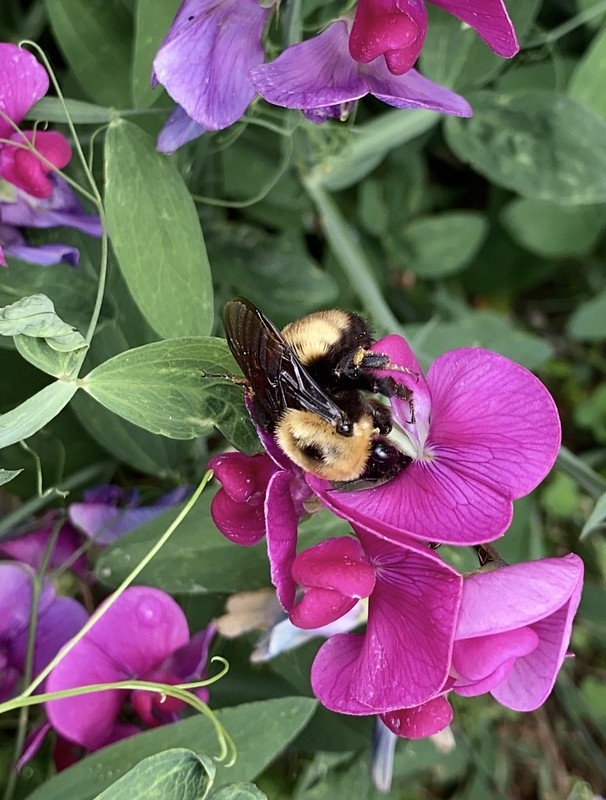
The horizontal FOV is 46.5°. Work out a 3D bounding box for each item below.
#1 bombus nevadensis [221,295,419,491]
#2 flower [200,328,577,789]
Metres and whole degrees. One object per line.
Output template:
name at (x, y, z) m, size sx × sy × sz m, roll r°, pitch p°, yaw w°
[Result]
bombus nevadensis at (0.018, -0.020, 0.634) m, size 0.186 × 0.132 × 0.064 m, roll 33°, pitch 53°, yaw 30°
flower at (0.119, 0.121, 0.701) m, size 0.339 × 0.175 × 0.368 m, roll -31°, pitch 69°, yaw 8°
